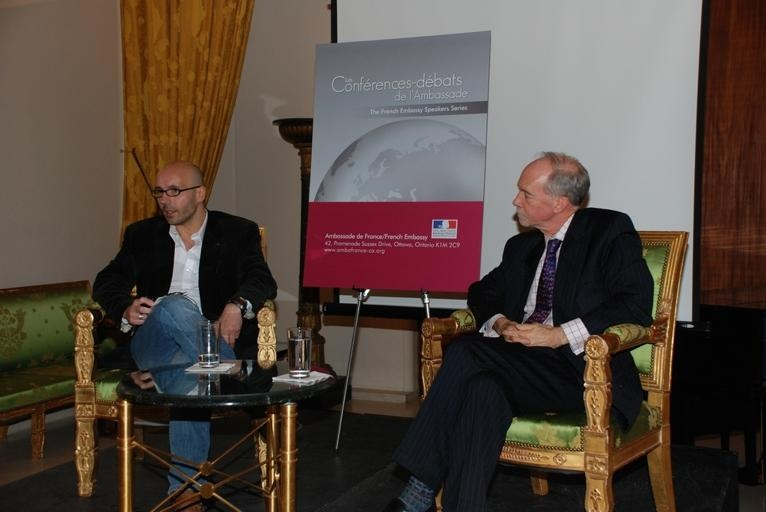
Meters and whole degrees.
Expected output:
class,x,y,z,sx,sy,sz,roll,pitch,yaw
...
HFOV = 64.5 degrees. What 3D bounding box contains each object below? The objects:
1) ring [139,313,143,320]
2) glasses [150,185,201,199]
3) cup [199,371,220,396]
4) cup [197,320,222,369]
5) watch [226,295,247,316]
class,x,y,z,sx,sy,sz,roll,pitch,yaw
ring,-1.289,0.320,3.236,0.019,0.020,0.013,0,9,4
glasses,-1.185,-0.375,3.495,0.274,0.081,0.133,-1,4,-18
cup,-0.760,0.558,2.663,0.068,0.072,0.115,2,40,-8
cup,-0.836,0.413,2.907,0.089,0.228,0.125,-1,4,-17
watch,-0.790,0.268,3.295,0.090,0.101,0.070,0,4,-2
